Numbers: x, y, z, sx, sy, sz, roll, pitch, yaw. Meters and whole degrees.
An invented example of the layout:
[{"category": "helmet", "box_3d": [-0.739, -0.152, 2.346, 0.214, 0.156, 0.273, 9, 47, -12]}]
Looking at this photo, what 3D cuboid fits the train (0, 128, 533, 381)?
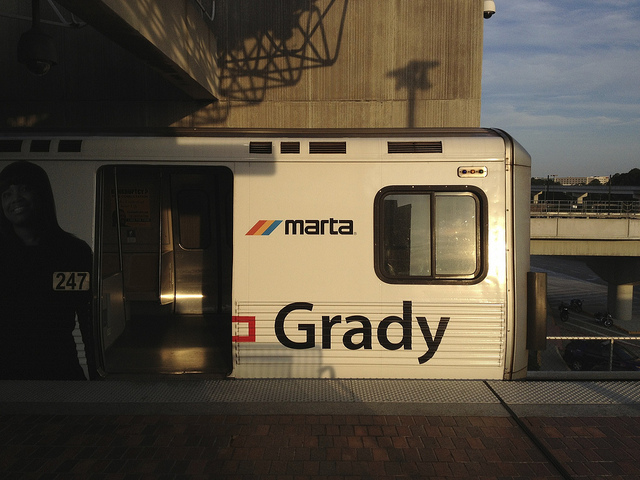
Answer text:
[{"category": "train", "box_3d": [-0.780, 0.156, 9.867, 7.820, 2.887, 2.494, -1, 1, 1]}]
